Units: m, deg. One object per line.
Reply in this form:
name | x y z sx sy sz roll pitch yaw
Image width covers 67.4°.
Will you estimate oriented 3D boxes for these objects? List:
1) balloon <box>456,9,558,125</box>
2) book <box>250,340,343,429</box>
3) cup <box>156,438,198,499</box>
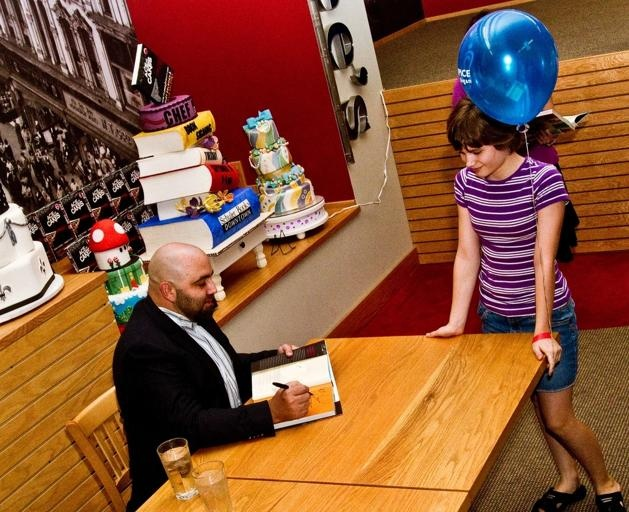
balloon | 0.668 -0.647 1.642 0.310 0.366 0.197 -2 23 28
book | -0.081 0.509 1.728 0.335 0.052 0.508 -12 20 -3
cup | -0.399 0.628 1.380 0.085 0.150 0.089 -12 7 2
